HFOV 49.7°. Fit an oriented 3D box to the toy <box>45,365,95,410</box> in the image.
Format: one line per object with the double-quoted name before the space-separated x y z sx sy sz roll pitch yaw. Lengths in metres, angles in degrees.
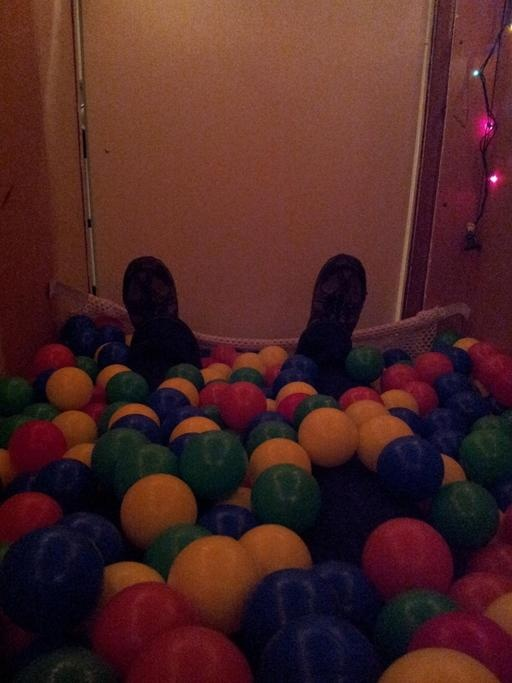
"toy" -0.694 0.177 2.050 0.161 0.157 0.183 -3 -8 -1

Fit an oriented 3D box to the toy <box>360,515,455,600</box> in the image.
"toy" 0.307 0.423 1.144 0.152 0.172 0.150 -6 4 13

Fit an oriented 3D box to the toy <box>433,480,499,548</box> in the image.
"toy" 0.472 0.386 1.282 0.137 0.151 0.146 -3 -3 15

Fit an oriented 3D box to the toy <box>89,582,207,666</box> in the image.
"toy" -0.177 0.421 0.890 0.138 0.117 0.110 -19 -22 5

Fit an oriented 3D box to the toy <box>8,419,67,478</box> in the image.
"toy" -0.625 0.311 1.570 0.122 0.120 0.140 -10 14 14

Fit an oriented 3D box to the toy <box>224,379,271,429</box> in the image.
"toy" -0.046 0.219 1.908 0.154 0.180 0.153 -1 -8 12

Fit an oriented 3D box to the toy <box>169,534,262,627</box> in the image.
"toy" -0.060 0.428 1.030 0.144 0.163 0.138 -5 21 0

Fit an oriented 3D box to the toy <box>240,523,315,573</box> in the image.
"toy" 0.041 0.415 1.142 0.099 0.115 0.099 1 62 33

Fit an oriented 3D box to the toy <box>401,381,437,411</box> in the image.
"toy" 0.651 0.205 2.160 0.113 0.132 0.113 -9 12 11

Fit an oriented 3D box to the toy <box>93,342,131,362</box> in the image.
"toy" -0.666 0.055 2.542 0.108 0.123 0.111 11 7 39

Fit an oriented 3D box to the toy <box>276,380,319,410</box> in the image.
"toy" 0.158 0.179 2.088 0.125 0.104 0.105 -19 5 2

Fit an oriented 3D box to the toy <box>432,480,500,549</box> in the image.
"toy" 0.468 0.385 1.295 0.144 0.164 0.149 0 0 8

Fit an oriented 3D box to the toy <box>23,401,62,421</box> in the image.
"toy" -0.774 0.243 1.978 0.072 0.038 0.070 6 21 -3

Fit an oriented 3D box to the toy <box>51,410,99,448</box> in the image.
"toy" -0.589 0.278 1.826 0.121 0.137 0.120 -3 0 9

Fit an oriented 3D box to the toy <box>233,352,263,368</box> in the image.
"toy" -0.041 0.078 2.577 0.080 0.092 0.081 1 2 23

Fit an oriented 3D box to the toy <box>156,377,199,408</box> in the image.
"toy" -0.303 0.179 2.151 0.120 0.139 0.118 -12 36 -16

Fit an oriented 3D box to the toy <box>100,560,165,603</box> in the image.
"toy" -0.230 0.432 1.010 0.065 0.076 0.065 25 41 -7

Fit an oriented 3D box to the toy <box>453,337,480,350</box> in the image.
"toy" 1.022 0.010 2.662 0.079 0.052 0.096 -7 7 4

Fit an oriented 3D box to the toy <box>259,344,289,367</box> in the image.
"toy" 0.084 0.070 2.696 0.110 0.127 0.112 -2 -5 36

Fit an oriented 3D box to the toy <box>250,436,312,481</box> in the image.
"toy" 0.065 0.304 1.480 0.125 0.141 0.123 -1 -1 6

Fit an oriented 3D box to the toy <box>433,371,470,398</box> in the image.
"toy" 0.781 0.171 2.200 0.126 0.104 0.104 -11 22 -30

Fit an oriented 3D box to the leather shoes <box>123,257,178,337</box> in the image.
"leather shoes" -0.577 -0.248 3.089 0.230 0.525 0.208 -21 -3 -2

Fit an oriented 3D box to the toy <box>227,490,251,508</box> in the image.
"toy" -0.041 0.404 1.441 0.040 0.039 0.048 16 31 24

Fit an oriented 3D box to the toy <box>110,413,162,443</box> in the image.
"toy" -0.374 0.264 1.689 0.102 0.111 0.111 0 -7 0

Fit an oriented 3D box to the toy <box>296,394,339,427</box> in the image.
"toy" 0.195 0.206 1.844 0.113 0.132 0.111 -1 45 -8

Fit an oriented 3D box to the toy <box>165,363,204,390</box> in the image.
"toy" -0.295 0.134 2.300 0.116 0.113 0.130 -2 -24 -13

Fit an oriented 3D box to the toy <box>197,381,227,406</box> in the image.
"toy" -0.173 0.202 2.180 0.095 0.096 0.115 -8 -24 -13

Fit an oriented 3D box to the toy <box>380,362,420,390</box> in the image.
"toy" 0.620 0.125 2.343 0.118 0.132 0.118 5 14 11

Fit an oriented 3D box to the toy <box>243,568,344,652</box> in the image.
"toy" 0.054 0.443 0.990 0.129 0.144 0.126 -9 40 -19

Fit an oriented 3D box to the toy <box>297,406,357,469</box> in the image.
"toy" 0.215 0.258 1.621 0.165 0.185 0.163 5 24 10

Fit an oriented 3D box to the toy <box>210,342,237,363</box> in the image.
"toy" -0.165 0.052 2.782 0.100 0.110 0.091 4 1 23

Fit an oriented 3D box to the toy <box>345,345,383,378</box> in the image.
"toy" 0.462 0.087 2.400 0.142 0.132 0.134 -3 -4 -27

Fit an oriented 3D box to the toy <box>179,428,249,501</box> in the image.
"toy" -0.112 0.333 1.433 0.176 0.168 0.142 -3 30 -15

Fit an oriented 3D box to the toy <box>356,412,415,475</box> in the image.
"toy" 0.362 0.280 1.564 0.152 0.178 0.152 -1 2 17

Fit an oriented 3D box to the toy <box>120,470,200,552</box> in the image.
"toy" -0.200 0.391 1.276 0.160 0.180 0.156 -3 63 0

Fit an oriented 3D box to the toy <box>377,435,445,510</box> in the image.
"toy" 0.368 0.307 1.414 0.162 0.162 0.187 -8 18 8

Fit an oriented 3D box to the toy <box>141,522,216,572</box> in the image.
"toy" -0.166 0.415 1.121 0.094 0.111 0.093 3 52 -3

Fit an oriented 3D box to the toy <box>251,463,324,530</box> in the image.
"toy" 0.076 0.379 1.337 0.153 0.106 0.145 -11 33 -26

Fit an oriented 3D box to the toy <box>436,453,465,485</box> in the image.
"toy" 0.525 0.344 1.474 0.086 0.046 0.086 12 -3 4

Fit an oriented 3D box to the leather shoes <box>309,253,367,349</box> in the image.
"leather shoes" 0.465 -0.289 3.061 0.222 0.593 0.231 13 -10 9

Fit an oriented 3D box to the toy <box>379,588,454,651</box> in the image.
"toy" 0.262 0.470 0.941 0.096 0.112 0.095 16 48 -7

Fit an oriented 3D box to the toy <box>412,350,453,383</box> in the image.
"toy" 0.782 0.134 2.434 0.131 0.156 0.131 -6 51 27

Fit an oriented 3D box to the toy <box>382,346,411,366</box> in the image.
"toy" 0.671 0.069 2.604 0.101 0.100 0.119 2 -25 12

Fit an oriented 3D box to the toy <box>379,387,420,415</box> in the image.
"toy" 0.542 0.216 2.053 0.101 0.115 0.100 -5 5 5

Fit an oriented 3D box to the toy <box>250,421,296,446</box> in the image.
"toy" 0.052 0.264 1.675 0.086 0.097 0.085 20 36 -25

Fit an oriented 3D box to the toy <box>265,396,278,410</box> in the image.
"toy" 0.060 0.237 2.105 0.041 0.047 0.040 -2 6 5
